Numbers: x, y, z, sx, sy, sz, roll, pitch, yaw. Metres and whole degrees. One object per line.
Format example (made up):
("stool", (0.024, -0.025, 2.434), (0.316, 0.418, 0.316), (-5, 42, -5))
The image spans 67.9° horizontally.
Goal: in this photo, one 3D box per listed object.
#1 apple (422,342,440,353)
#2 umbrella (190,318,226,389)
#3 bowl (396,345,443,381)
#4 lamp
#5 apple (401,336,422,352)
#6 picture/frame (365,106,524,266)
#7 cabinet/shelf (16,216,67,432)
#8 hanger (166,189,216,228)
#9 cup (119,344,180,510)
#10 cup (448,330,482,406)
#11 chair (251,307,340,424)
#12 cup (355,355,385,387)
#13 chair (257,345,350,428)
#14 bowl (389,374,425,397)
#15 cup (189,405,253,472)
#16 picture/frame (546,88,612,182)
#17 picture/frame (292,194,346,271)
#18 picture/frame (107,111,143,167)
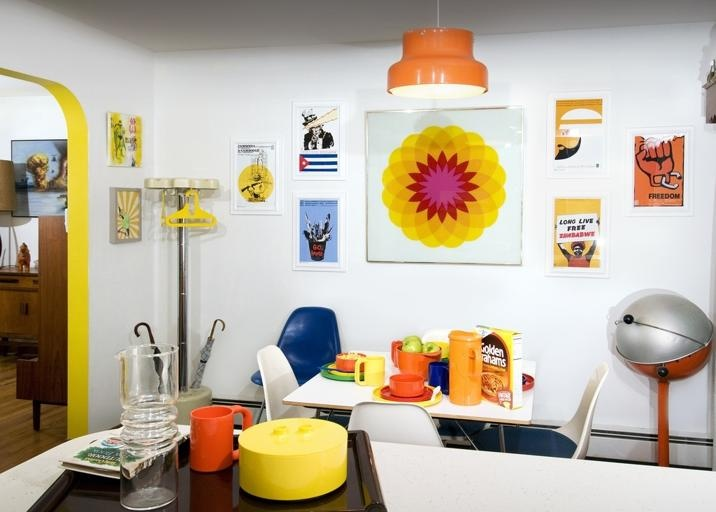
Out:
("apple", (0.414, 0.504, 2.972), (0.057, 0.032, 0.060), (-3, 9, 2))
("umbrella", (-1.281, 0.828, 4.577), (0.206, 0.706, 0.145), (2, 43, -33))
("bowl", (0.322, 0.581, 2.890), (0.181, 0.087, 0.148), (1, 0, 22))
("lamp", (0.415, -0.982, 2.787), (0.474, 0.546, 0.475), (1, 8, 9))
("apple", (0.308, 0.494, 2.974), (0.081, 0.085, 0.083), (0, -11, 1))
("picture/frame", (0.732, -0.572, 4.123), (1.193, 1.210, 0.032), (1, 4, 14))
("cabinet/shelf", (-2.485, 0.537, 4.263), (0.479, 1.695, 0.275), (3, 5, 26))
("hanger", (-1.371, -0.397, 4.411), (0.316, 0.236, 0.038), (2, 6, 2))
("cup", (-0.512, 0.423, 1.301), (0.129, 0.379, 0.081), (-1, 5, -23))
("cup", (0.503, 0.535, 2.478), (0.149, 0.356, 0.122), (2, 5, 11))
("chair", (-0.437, 0.895, 4.047), (0.585, 0.927, 0.651), (-2, 0, 17))
("cup", (0.083, 0.612, 2.916), (0.118, 0.163, 0.213), (-3, 3, -4))
("chair", (-0.208, 0.801, 3.295), (0.486, 0.370, 0.381), (5, -6, 40))
("bowl", (0.247, 0.625, 2.618), (0.115, 0.055, 0.111), (-2, 0, 0))
("cup", (-0.376, 0.504, 1.486), (0.178, 0.154, 0.108), (3, -3, -39))
("picture/frame", (1.639, -0.887, 3.950), (0.440, 0.615, 0.031), (6, 23, 37))
("picture/frame", (-0.299, -0.208, 4.365), (0.587, 0.836, 0.054), (1, 4, 12))
("picture/frame", (-1.904, -0.938, 4.337), (0.404, 0.414, 0.008), (7, 10, 27))
